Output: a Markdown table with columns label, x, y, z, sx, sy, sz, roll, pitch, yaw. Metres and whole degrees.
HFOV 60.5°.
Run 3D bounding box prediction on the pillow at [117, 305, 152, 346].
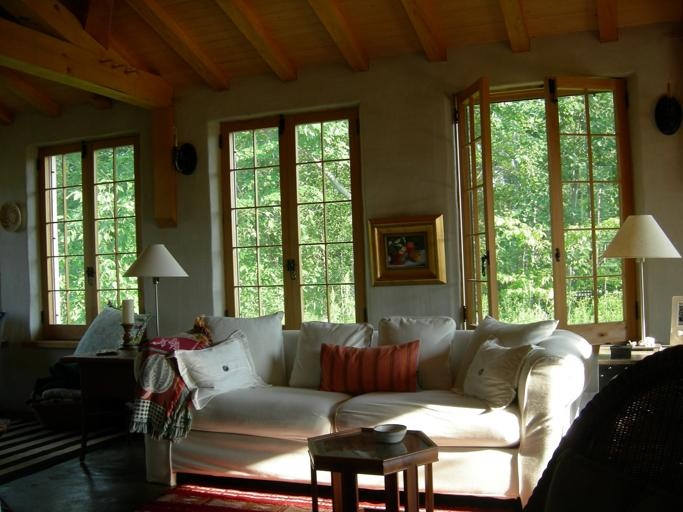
| label | x | y | z | sx | sy | sz | roll | pitch | yaw |
| --- | --- | --- | --- | --- | --- | --- | --- | --- | --- |
| pillow | -1.971 | 0.674 | 5.451 | 0.277 | 0.298 | 0.278 | -15 | -13 | 13 |

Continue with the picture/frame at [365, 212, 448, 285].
| label | x | y | z | sx | sy | sz | roll | pitch | yaw |
| --- | --- | --- | --- | --- | --- | --- | --- | --- | --- |
| picture/frame | 0.639 | -0.080 | 5.403 | 0.620 | 0.602 | 0.057 | -1 | 2 | 14 |

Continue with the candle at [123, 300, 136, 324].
| label | x | y | z | sx | sy | sz | roll | pitch | yaw |
| --- | --- | --- | --- | --- | --- | --- | --- | --- | --- |
| candle | -1.736 | 0.456 | 4.803 | 0.071 | 0.206 | 0.141 | 0 | -2 | -10 |

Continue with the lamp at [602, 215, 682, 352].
| label | x | y | z | sx | sy | sz | roll | pitch | yaw |
| --- | --- | --- | --- | --- | --- | --- | --- | --- | --- |
| lamp | 2.324 | 0.188 | 4.453 | 0.590 | 0.961 | 1.410 | -1 | -2 | 24 |

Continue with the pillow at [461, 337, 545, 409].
| label | x | y | z | sx | sy | sz | roll | pitch | yaw |
| --- | --- | --- | --- | --- | --- | --- | --- | --- | --- |
| pillow | 0.957 | 0.729 | 3.664 | 0.286 | 0.534 | 0.748 | 13 | -10 | -17 |

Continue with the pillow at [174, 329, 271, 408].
| label | x | y | z | sx | sy | sz | roll | pitch | yaw |
| --- | --- | --- | --- | --- | --- | --- | --- | --- | --- |
| pillow | -0.818 | 0.863 | 4.266 | 0.201 | 0.534 | 0.751 | -13 | 7 | 38 |

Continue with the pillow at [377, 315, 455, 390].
| label | x | y | z | sx | sy | sz | roll | pitch | yaw |
| --- | --- | --- | --- | --- | --- | --- | --- | --- | --- |
| pillow | 0.531 | 0.698 | 4.304 | 0.547 | 0.605 | 0.227 | 1 | 9 | 7 |

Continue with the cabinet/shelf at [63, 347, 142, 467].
| label | x | y | z | sx | sy | sz | roll | pitch | yaw |
| --- | --- | --- | --- | --- | --- | --- | --- | --- | --- |
| cabinet/shelf | -1.962 | 1.175 | 4.492 | 0.587 | 0.726 | 0.762 | -10 | -10 | 19 |

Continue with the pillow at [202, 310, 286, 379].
| label | x | y | z | sx | sy | sz | roll | pitch | yaw |
| --- | --- | --- | --- | --- | --- | --- | --- | --- | --- |
| pillow | -0.733 | 0.690 | 4.470 | 0.414 | 0.426 | 0.148 | -3 | -18 | -10 |

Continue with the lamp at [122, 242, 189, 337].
| label | x | y | z | sx | sy | sz | roll | pitch | yaw |
| --- | --- | --- | --- | --- | --- | --- | --- | --- | --- |
| lamp | -1.613 | 0.343 | 5.121 | 0.463 | 0.930 | 0.478 | 9 | 12 | 21 |

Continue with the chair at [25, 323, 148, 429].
| label | x | y | z | sx | sy | sz | roll | pitch | yaw |
| --- | --- | --- | --- | --- | --- | --- | --- | --- | --- |
| chair | -2.368 | 1.084 | 5.717 | 0.911 | 0.562 | 1.191 | -2 | -3 | 21 |
